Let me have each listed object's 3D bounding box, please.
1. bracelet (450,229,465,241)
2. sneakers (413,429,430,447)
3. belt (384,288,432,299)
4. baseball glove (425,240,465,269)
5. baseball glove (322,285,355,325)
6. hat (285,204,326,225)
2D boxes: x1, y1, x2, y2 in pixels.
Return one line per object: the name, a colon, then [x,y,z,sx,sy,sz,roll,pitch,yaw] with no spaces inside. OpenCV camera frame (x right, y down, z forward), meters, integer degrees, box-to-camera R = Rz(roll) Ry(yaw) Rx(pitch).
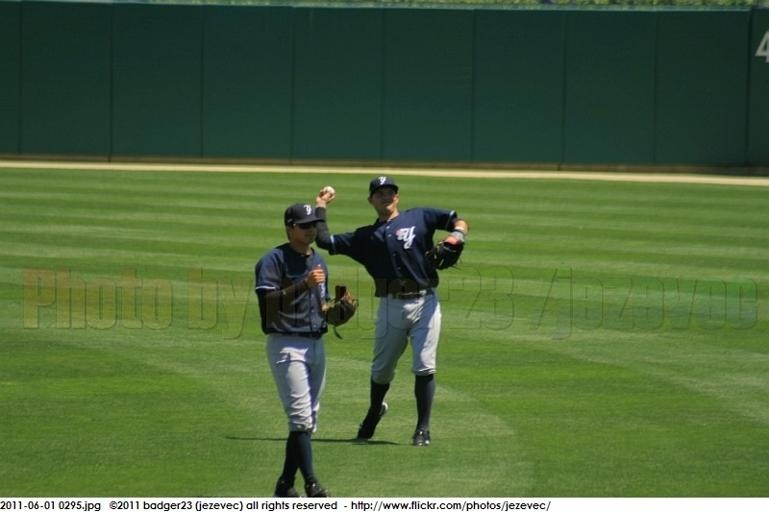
bracelet: [1.120,-0.318,23.794,0.176,0.110,0.174,17,27,35]
sneakers: [0.567,2.754,23.678,0.269,0.201,0.468,0,-7,-1]
belt: [0.328,0.569,23.778,0.834,0.206,0.151,2,-2,-1]
baseball glove: [0.932,-0.001,23.767,0.369,0.534,0.221,49,-4,47]
baseball glove: [-0.692,0.792,23.257,0.261,0.506,0.629,15,-15,-38]
hat: [-1.257,-0.598,22.880,0.439,0.204,0.344,-2,1,44]
